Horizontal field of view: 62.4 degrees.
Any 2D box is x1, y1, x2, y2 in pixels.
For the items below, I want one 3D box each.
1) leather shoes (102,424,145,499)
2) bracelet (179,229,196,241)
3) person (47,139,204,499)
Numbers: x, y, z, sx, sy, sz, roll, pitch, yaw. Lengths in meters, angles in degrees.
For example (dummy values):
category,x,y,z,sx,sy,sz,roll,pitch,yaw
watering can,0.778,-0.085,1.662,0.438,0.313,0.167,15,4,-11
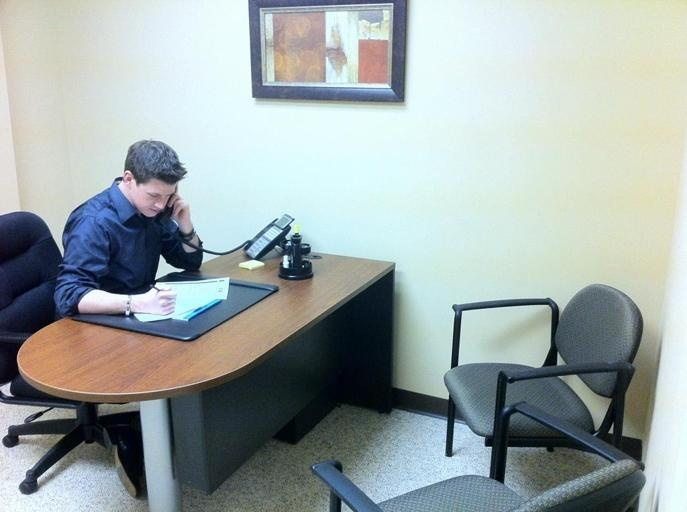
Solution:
category,x,y,z,sx,sy,sz,roll,pitch,yaw
leather shoes,-0.987,0.919,2.656,0.155,0.384,0.124,-10,0,39
bracelet,-0.787,-0.114,2.911,0.066,0.036,0.049,18,26,35
person,-1.010,0.207,2.794,0.735,1.495,0.732,16,25,26
